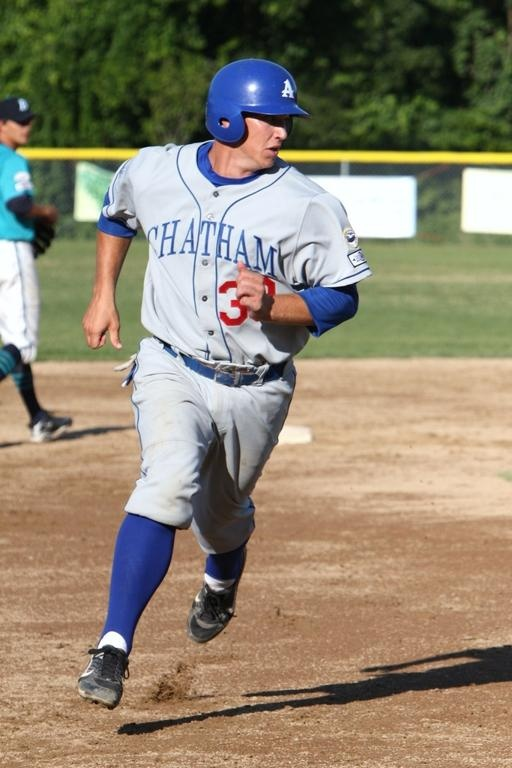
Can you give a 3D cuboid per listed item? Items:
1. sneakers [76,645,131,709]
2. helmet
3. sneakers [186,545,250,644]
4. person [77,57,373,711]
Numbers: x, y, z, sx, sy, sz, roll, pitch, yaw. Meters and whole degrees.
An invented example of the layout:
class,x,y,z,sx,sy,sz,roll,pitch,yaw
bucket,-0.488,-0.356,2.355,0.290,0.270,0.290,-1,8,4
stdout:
class,x,y,z,sx,sy,sz,roll,pitch,yaw
sneakers,-0.336,0.648,2.301,0.095,0.141,0.126,1,9,2
helmet,0.027,-0.722,2.764,0.283,0.202,0.217,6,11,33
sneakers,-0.108,0.636,3.206,0.145,0.324,0.133,19,-3,3
person,-0.088,0.014,2.756,0.724,1.717,1.038,-1,10,-7
